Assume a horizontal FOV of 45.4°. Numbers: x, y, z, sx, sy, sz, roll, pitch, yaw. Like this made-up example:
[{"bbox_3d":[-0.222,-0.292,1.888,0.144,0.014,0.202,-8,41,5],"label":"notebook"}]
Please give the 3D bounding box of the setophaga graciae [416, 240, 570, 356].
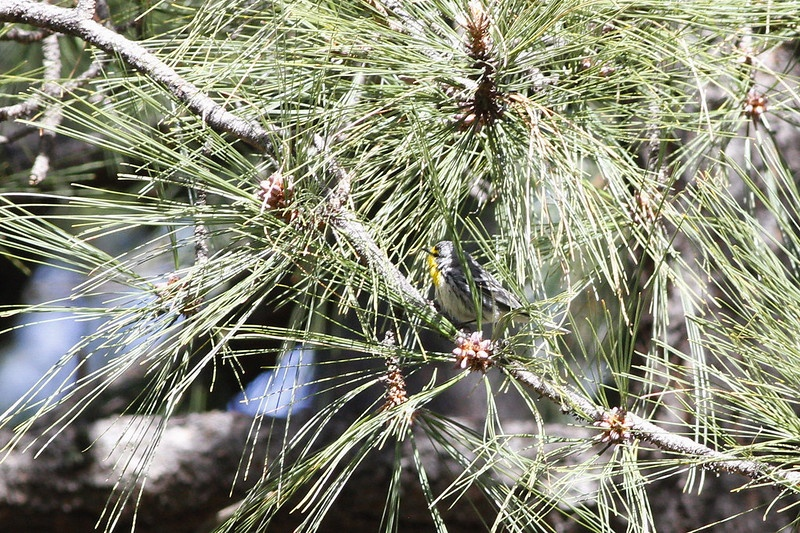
[{"bbox_3d":[0.435,0.095,4.556,0.666,0.390,0.235,4,7,10],"label":"setophaga graciae"}]
